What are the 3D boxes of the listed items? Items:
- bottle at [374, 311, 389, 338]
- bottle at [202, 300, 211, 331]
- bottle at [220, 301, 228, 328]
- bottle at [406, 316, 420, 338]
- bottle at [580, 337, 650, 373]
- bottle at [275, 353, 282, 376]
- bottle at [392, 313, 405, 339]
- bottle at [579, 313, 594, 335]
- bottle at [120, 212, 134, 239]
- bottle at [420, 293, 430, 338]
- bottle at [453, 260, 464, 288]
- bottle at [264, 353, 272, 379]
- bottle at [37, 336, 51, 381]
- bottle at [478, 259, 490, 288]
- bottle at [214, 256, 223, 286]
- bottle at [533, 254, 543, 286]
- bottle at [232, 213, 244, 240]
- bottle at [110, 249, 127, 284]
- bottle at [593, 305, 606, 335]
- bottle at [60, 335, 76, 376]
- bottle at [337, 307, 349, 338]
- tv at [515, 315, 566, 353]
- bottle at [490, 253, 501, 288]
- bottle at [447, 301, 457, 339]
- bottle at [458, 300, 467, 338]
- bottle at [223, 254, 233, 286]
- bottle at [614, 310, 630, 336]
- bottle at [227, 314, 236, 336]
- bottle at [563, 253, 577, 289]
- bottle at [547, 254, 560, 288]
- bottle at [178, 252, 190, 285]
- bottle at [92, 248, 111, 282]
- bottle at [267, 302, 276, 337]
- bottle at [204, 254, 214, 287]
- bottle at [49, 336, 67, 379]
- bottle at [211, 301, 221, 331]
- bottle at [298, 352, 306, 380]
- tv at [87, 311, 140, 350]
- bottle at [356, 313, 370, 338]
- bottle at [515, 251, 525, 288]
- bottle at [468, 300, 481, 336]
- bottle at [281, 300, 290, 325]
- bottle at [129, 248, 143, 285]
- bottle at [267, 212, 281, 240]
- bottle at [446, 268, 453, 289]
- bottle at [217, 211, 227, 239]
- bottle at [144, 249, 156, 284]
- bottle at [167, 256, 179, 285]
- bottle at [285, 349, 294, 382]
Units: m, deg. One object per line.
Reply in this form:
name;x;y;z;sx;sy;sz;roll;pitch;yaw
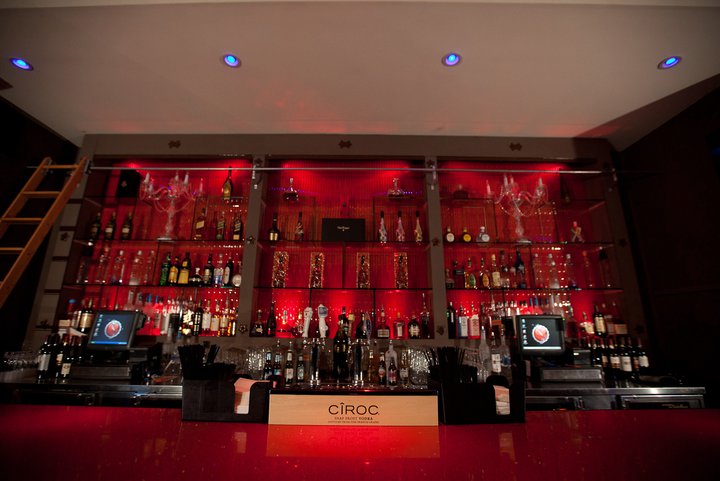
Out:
bottle;0.227;0.884;4.561;0.152;0.327;0.257;0;-20;2
bottle;-1.649;0.811;4.637;0.082;0.335;0.110;13;-24;-31
bottle;-1.457;0.802;4.646;0.070;0.296;0.092;7;-21;-16
bottle;0.577;0.925;4.608;0.132;0.242;0.152;-2;-20;6
bottle;2.556;1.154;4.291;0.321;0.293;0.165;0;-21;6
bottle;-0.802;1.218;4.248;0.079;0.210;0.108;4;-20;-10
bottle;0.423;0.902;4.613;0.138;0.286;0.134;0;-20;0
bottle;2.463;0.901;4.664;0.148;0.239;0.098;2;-20;-4
bottle;-2.647;-0.150;4.903;0.122;0.363;0.238;12;-23;-28
bottle;0.702;0.800;4.637;0.066;0.471;0.189;7;-21;-17
bottle;1.117;0.381;4.856;0.135;0.308;0.057;5;-21;-12
bottle;-0.865;1.176;4.072;0.081;0.226;0.314;4;-20;-10
bottle;-2.930;1.090;4.016;0.101;0.415;0.304;14;-24;-33
bottle;1.390;0.364;4.811;0.113;0.400;0.207;-5;-21;15
bottle;-1.568;0.331;4.793;0.104;0.373;0.196;7;-21;-18
bottle;1.997;0.336;4.858;0.122;0.382;0.048;11;-23;-27
bottle;-1.372;-0.140;4.873;0.115;0.363;0.176;7;-21;-16
bottle;-2.658;0.295;4.763;0.129;0.425;0.232;12;-23;-29
bottle;2.562;0.862;4.605;0.127;0.287;0.063;6;-21;-16
bottle;-2.725;1.088;4.043;0.130;0.429;0.117;10;11;-31
bottle;-0.176;0.865;4.582;0.130;0.338;0.189;1;-20;-1
tv;1.699;0.873;4.010;0.070;0.372;0.470;8;-15;-29
bottle;1.513;0.338;4.814;0.112;0.420;0.144;-6;-21;16
bottle;0.985;0.843;4.606;0.085;0.412;0.312;-5;-20;14
bottle;1.106;0.844;4.630;0.092;0.412;0.242;-5;-20;14
bottle;-1.453;0.347;4.788;0.112;0.372;0.204;7;-21;-17
bottle;2.740;0.859;4.523;0.056;0.261;0.120;12;-23;-29
bottle;-1.342;0.888;4.529;0.091;0.236;0.232;7;-20;-16
bottle;2.361;0.325;4.829;0.103;0.364;0.124;-3;-20;10
bottle;2.145;0.342;4.793;0.112;0.427;0.223;-9;-22;24
bottle;-1.947;0.318;4.806;0.120;0.397;0.191;9;-21;-21
bottle;-2.831;0.280;4.766;0.110;0.436;0.206;17;-26;-38
bottle;-0.951;0.845;4.666;0.107;0.371;0.077;5;-21;-11
bottle;-1.670;0.323;4.790;0.109;0.383;0.190;7;-21;-18
bottle;-2.841;1.136;4.044;0.131;0.320;0.301;13;-23;-32
bottle;-1.549;0.813;4.643;0.085;0.336;0.095;10;-22;-25
bottle;-0.574;1.246;4.253;0.079;0.252;0.108;4;-20;-8
tv;-2.275;0.832;4.014;0.423;0.356;0.109;-1;-20;5
bottle;0.036;0.899;4.582;0.152;0.280;0.139;0;-20;0
bottle;1.785;0.334;4.794;0.106;0.458;0.215;-8;-21;21
bottle;1.245;0.853;4.694;0.119;0.401;0.138;-9;-22;25
bottle;-0.817;0.792;4.706;0.094;0.244;0.035;3;-20;-8
bottle;-2.471;0.303;4.788;0.125;0.436;0.219;11;-22;-26
bottle;-0.953;-0.148;4.844;0.129;0.382;0.288;5;-20;-12
bottle;1.003;0.424;4.798;0.088;0.267;0.136;-4;-20;12
bottle;-1.576;-0.171;4.896;0.081;0.392;0.164;11;-22;-26
bottle;-2.333;0.299;4.805;0.097;0.417;0.189;14;-24;-33
bottle;-2.061;0.341;4.785;0.109;0.346;0.195;9;-22;-22
bottle;-0.686;1.236;4.250;0.096;0.307;0.144;4;-20;-10
